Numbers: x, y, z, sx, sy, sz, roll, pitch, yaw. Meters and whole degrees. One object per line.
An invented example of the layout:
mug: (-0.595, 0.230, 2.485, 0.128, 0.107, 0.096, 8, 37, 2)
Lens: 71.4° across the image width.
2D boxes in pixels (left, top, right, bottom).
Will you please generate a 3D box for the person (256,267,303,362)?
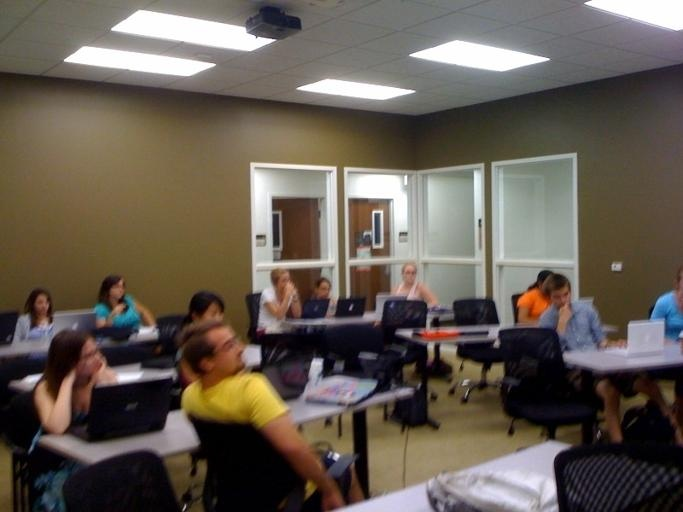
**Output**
person: (-0.755, 0.790, 5.697, 0.599, 1.195, 0.606, 3, 1, 37)

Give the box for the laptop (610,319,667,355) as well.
laptop: (2.221, 0.625, 3.500, 0.293, 0.280, 0.405, 4, -3, 39)

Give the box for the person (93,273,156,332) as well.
person: (-2.368, 0.507, 5.180, 0.572, 0.577, 1.348, -2, 4, -19)

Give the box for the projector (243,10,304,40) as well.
projector: (-0.552, -1.974, 4.055, 0.490, 0.190, 0.245, -3, 4, -25)

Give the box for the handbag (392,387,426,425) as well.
handbag: (0.614, 1.502, 4.766, 0.380, 0.411, 0.344, 12, -23, -33)

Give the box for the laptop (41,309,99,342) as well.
laptop: (-2.197, 0.565, 3.828, 0.245, 0.247, 0.350, 14, 8, 43)

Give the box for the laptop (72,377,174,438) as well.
laptop: (-1.040, 0.758, 2.331, 0.424, 0.301, 0.294, 1, 11, -39)

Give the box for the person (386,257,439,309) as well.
person: (0.841, 0.451, 6.140, 0.784, 0.717, 0.450, -1, -9, 19)
